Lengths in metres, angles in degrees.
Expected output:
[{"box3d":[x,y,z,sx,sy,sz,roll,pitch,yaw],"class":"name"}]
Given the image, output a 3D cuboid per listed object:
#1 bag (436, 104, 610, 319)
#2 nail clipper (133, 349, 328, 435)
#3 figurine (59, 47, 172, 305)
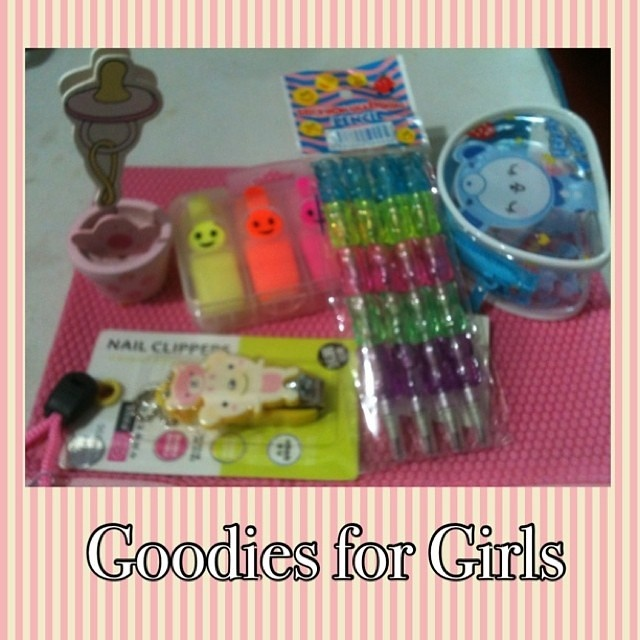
[{"box3d":[0.252,-0.141,0.818,0.217,0.098,0.297,23,48,15],"class":"bag"},{"box3d":[-0.101,0.079,0.700,0.207,0.033,0.081,-5,60,1],"class":"nail clipper"},{"box3d":[-0.233,-0.155,0.728,0.127,0.283,0.127,-10,43,-22],"class":"figurine"}]
